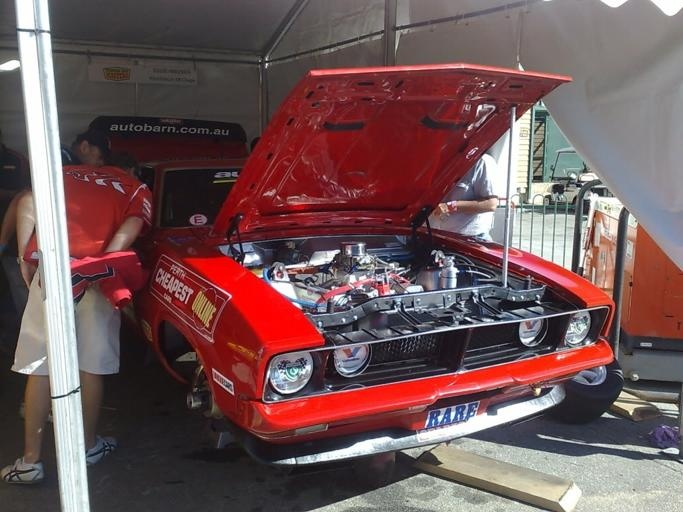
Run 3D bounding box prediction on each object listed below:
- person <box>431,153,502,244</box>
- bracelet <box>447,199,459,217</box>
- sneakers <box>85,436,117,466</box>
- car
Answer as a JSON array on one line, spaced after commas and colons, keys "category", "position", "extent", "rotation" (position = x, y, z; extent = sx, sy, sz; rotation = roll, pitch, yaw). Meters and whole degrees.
[{"category": "person", "position": [1.151, -0.531, 4.450], "extent": [0.481, 0.787, 0.836], "rotation": [2, 12, 0]}, {"category": "bracelet", "position": [0.869, -0.382, 3.949], "extent": [0.095, 0.118, 0.046], "rotation": [7, -22, -19]}, {"category": "sneakers", "position": [-1.473, 1.178, 3.039], "extent": [0.065, 0.073, 0.189], "rotation": [13, 21, 18]}, {"category": "car", "position": [-0.149, -0.308, 3.905], "extent": [2.512, 1.909, 3.784], "rotation": [-4, 16, -31]}]
